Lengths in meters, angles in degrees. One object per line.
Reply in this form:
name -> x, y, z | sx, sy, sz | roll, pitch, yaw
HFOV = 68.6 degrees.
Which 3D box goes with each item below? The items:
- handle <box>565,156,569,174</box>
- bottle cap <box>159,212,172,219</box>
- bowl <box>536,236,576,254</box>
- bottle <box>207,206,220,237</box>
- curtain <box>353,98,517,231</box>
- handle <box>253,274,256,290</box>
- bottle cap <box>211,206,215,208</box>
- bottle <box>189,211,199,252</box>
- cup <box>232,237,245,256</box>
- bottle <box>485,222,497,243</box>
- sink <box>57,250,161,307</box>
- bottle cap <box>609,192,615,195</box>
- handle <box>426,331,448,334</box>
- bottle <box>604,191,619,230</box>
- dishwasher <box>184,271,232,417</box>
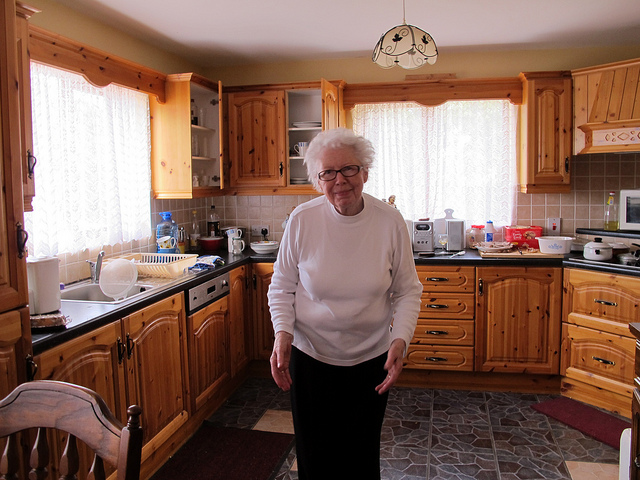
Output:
handle -> 2.128, -0.667, 4.072 | 0.032, 0.151, 0.012 | -1, 10, -2
bottle cap -> -1.346, -0.230, 4.098 | 0.088, 0.088, 0.055 | 0, 7, -12
bowl -> 2.043, 0.025, 4.094 | 0.375, 0.121, 0.226 | -5, 11, -25
bottle -> -1.094, -0.220, 4.828 | 0.118, 0.294, 0.357 | -3, 10, -12
curtain -> 1.125, -0.751, 4.604 | 1.462, 1.208, 0.145 | 3, 25, 22
handle -> -0.586, 0.365, 4.223 | 0.025, 0.136, 0.019 | -1, 10, -3
bottle cap -> -1.078, -0.352, 4.762 | 0.027, 0.018, 0.028 | 2, 4, 36
bottle -> -1.247, -0.109, 4.648 | 0.096, 0.361, 0.196 | -4, 10, -15
cup -> -0.763, 0.038, 4.405 | 0.110, 0.146, 0.265 | -3, 10, -11
bottle -> 1.620, -0.092, 4.489 | 0.094, 0.186, 0.165 | 5, 12, 31
sink -> -1.387, 0.263, 3.044 | 0.493, 0.344, 0.358 | 4, 10, 21
bottle cap -> 2.641, -0.442, 4.268 | 0.049, 0.039, 0.039 | 1, 6, 6
handle -> 0.977, 0.771, 3.965 | 0.057, 0.014, 0.058 | 0, 0, 11
bottle -> 2.624, -0.279, 4.239 | 0.122, 0.323, 0.209 | 5, 12, 31
dishwasher -> -0.832, 0.747, 3.612 | 0.080, 0.945, 0.691 | 1, 10, 12
